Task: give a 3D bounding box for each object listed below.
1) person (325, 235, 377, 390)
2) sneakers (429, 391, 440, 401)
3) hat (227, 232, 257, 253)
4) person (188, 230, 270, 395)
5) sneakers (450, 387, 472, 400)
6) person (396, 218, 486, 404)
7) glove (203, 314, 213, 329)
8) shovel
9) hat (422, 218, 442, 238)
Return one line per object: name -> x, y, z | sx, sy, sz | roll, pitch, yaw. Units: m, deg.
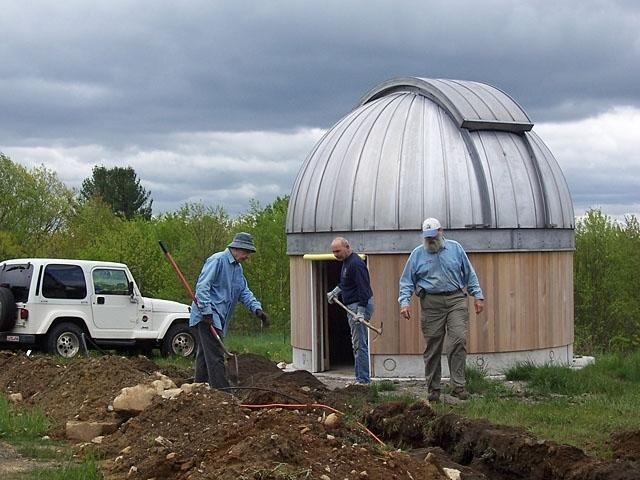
person -> 0.627, 1.326, 19.099 | 0.736, 2.738, 0.774 | -1, -5, 3
sneakers -> 2.034, 2.798, 18.265 | 0.208, 0.197, 0.311 | -3, -6, 14
hat -> -1.281, 0.061, 17.275 | 0.333, 0.219, 0.351 | 17, -4, 8
person -> -1.650, 1.196, 17.355 | 1.102, 2.667, 0.907 | 0, -5, -9
sneakers -> 2.551, 2.768, 18.449 | 0.400, 0.231, 0.255 | -5, -6, 30
person -> 2.201, 1.278, 18.456 | 1.419, 3.250, 0.665 | -2, -5, 6
glove -> -1.838, 1.366, 16.924 | 0.057, 0.204, 0.132 | -8, 13, -25
shovel -> -2.724, 1.521, 22.675 | 0.453, 3.639, 0.359 | -22, 5, 47
hat -> 2.043, -0.236, 18.440 | 0.221, 0.210, 0.379 | -10, 31, 28
